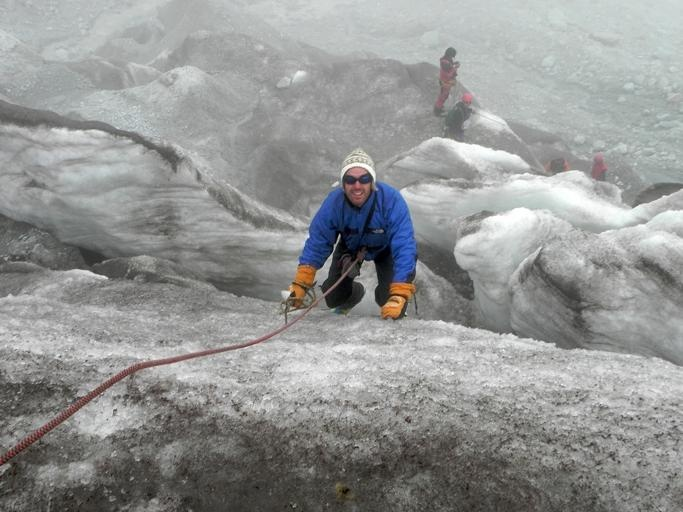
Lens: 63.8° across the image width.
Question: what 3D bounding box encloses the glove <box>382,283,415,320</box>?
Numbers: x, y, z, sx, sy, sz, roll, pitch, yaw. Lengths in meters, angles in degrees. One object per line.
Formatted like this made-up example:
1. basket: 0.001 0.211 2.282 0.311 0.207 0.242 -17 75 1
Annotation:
1. glove: 0.372 0.284 3.596 0.159 0.121 0.288 9 70 28

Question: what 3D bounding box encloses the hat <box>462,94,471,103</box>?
1. hat: 1.914 -2.386 8.357 0.135 0.102 0.120 -21 56 -44

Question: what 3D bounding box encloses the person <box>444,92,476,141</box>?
1. person: 1.845 -2.221 8.588 0.397 0.731 0.584 20 41 7
